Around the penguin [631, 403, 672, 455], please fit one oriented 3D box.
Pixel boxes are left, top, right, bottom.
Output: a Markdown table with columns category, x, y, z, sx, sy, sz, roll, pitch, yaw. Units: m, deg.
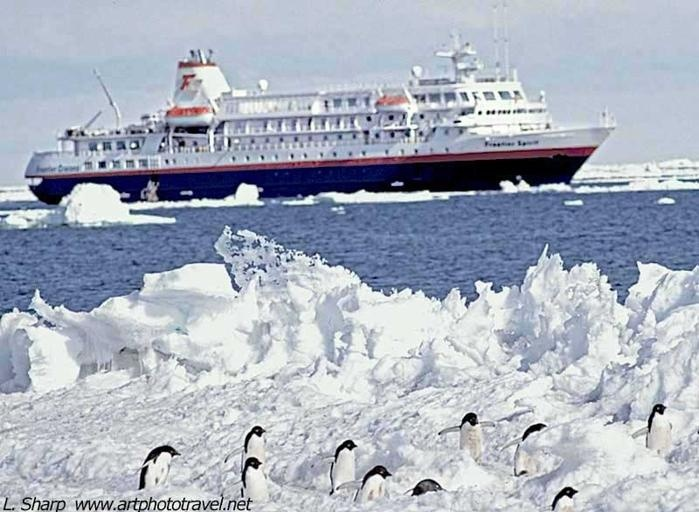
| category | x | y | z | sx | sy | sz | roll | pitch | yaw |
| --- | --- | --- | --- | --- | --- | --- | --- | --- | --- |
| penguin | 7.905 | 4.455 | 41.624 | 0.929 | 1.564 | 0.845 | -2 | 13 | 17 |

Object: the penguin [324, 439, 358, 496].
| category | x | y | z | sx | sy | sz | roll | pitch | yaw |
| --- | --- | --- | --- | --- | --- | --- | --- | --- | --- |
| penguin | -0.164 | 5.516 | 41.858 | 0.734 | 1.322 | 1.064 | -4 | 11 | -1 |

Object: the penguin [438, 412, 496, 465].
| category | x | y | z | sx | sy | sz | roll | pitch | yaw |
| --- | --- | --- | --- | --- | --- | --- | --- | --- | --- |
| penguin | 3.074 | 4.693 | 42.460 | 1.872 | 1.784 | 1.107 | -4 | 7 | -18 |

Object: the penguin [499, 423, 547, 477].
| category | x | y | z | sx | sy | sz | roll | pitch | yaw |
| --- | --- | --- | --- | --- | --- | --- | --- | --- | --- |
| penguin | 4.719 | 5.077 | 42.244 | 1.170 | 1.272 | 1.707 | -1 | 6 | 12 |

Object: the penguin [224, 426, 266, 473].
| category | x | y | z | sx | sy | sz | roll | pitch | yaw |
| --- | --- | --- | --- | --- | --- | --- | --- | --- | --- |
| penguin | -2.656 | 5.075 | 42.731 | 1.178 | 1.120 | 1.529 | -6 | 8 | -19 |

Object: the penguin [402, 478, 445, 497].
| category | x | y | z | sx | sy | sz | roll | pitch | yaw |
| --- | --- | --- | --- | --- | --- | --- | --- | --- | --- |
| penguin | 1.984 | 5.962 | 41.113 | 0.893 | 0.385 | 0.387 | -3 | 0 | 7 |

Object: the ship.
| category | x | y | z | sx | sy | sz | roll | pitch | yaw |
| --- | --- | --- | --- | --- | --- | --- | --- | --- | --- |
| ship | -2.554 | -7.578 | 86.145 | 33.970 | 8.603 | 6.634 | 0 | 20 | 25 |
